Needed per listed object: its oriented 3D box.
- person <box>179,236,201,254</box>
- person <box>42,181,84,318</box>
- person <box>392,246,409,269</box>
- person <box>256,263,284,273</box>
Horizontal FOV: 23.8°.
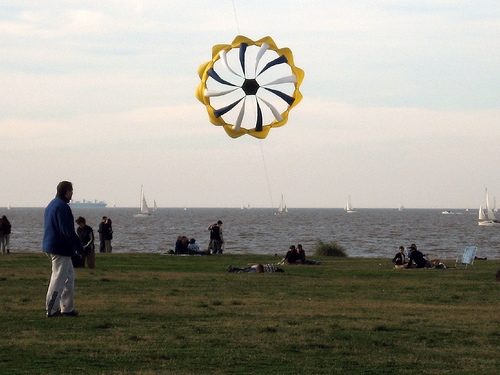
[{"bbox_3d":[-2.666,2.493,50.225,0.779,0.666,1.400,0,0,-17],"label":"person"},{"bbox_3d":[-5.206,1.744,32.875,1.024,3.766,0.544,-1,0,-2],"label":"person"},{"bbox_3d":[5.768,2.730,45.141,0.734,0.957,0.749,1,-5,-36],"label":"person"},{"bbox_3d":[0.730,2.913,42.287,0.937,0.275,0.973,-1,0,8],"label":"person"}]
